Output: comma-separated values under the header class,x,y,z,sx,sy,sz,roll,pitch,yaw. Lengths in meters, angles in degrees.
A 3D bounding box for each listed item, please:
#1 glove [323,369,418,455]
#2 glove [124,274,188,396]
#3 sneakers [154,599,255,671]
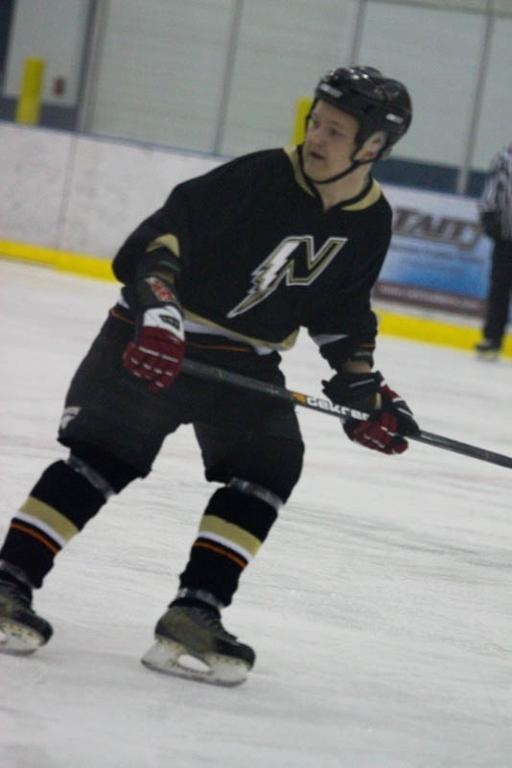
class,x,y,z,sx,sy,sz,roll,pitch,yaw
glove,0.232,0.064,1.604,0.206,0.088,0.132,21,49,-22
glove,-0.156,-0.080,1.211,0.090,0.164,0.112,14,9,-12
sneakers,-0.064,0.360,1.126,0.176,0.090,0.053,1,-22,28
